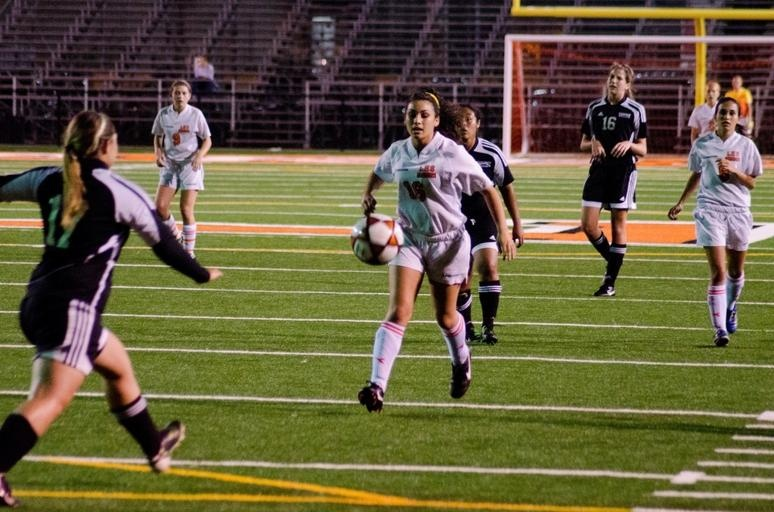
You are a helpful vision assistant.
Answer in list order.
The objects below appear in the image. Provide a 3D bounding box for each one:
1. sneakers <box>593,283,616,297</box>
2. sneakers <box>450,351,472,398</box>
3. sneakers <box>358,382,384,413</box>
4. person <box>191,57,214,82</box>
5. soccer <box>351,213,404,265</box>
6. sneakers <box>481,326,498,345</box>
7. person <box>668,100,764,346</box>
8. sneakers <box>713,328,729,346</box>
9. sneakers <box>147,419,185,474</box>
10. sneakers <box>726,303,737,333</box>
[{"bbox_3d":[2.655,0.403,14.418,0.315,0.130,0.113,5,-5,-42],"label":"sneakers"},{"bbox_3d":[0.695,1.093,10.881,0.151,0.409,0.189,11,16,35],"label":"sneakers"},{"bbox_3d":[-0.150,1.238,10.309,0.224,0.274,0.194,2,9,-12],"label":"sneakers"},{"bbox_3d":[-5.771,-5.901,37.203,0.563,0.741,1.101,1,9,-13],"label":"person"},{"bbox_3d":[-0.138,-0.162,10.730,0.467,0.437,0.469,12,2,-41],"label":"soccer"},{"bbox_3d":[1.117,0.823,12.496,0.212,0.199,0.122,-4,5,19],"label":"sneakers"},{"bbox_3d":[3.491,-0.383,12.476,0.706,2.549,0.645,6,9,18],"label":"person"},{"bbox_3d":[3.499,0.836,12.396,0.151,0.172,0.214,6,9,19],"label":"sneakers"},{"bbox_3d":[-1.768,1.520,9.513,0.182,0.498,0.227,10,-30,21],"label":"sneakers"},{"bbox_3d":[3.727,0.672,12.771,0.115,0.329,0.151,2,10,15],"label":"sneakers"}]
